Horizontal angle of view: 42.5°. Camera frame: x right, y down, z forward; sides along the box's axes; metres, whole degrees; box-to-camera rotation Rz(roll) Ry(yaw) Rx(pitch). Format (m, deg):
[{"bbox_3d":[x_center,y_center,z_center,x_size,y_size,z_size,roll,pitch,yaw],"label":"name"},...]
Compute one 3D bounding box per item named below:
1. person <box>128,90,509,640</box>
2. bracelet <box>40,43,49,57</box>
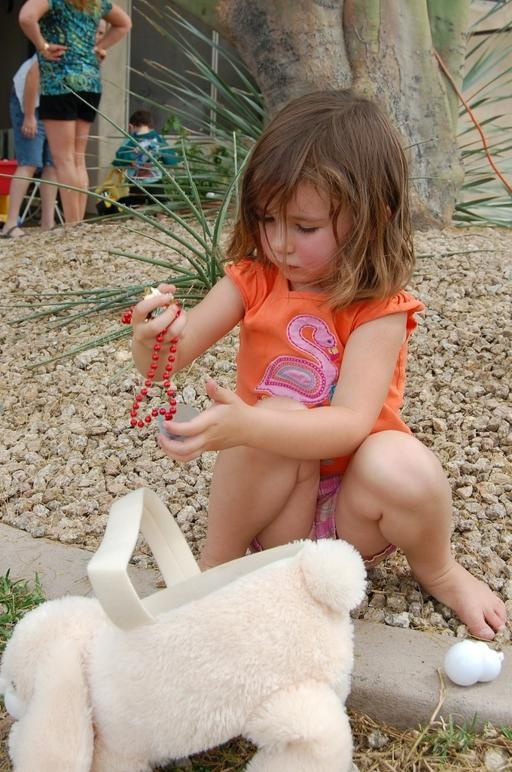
[{"bbox_3d":[0.101,-0.049,1.024,0.577,0.794,0.416,0,17,-11],"label":"person"},{"bbox_3d":[-0.917,-1.475,2.864,0.020,0.048,0.042,10,26,20],"label":"bracelet"}]
